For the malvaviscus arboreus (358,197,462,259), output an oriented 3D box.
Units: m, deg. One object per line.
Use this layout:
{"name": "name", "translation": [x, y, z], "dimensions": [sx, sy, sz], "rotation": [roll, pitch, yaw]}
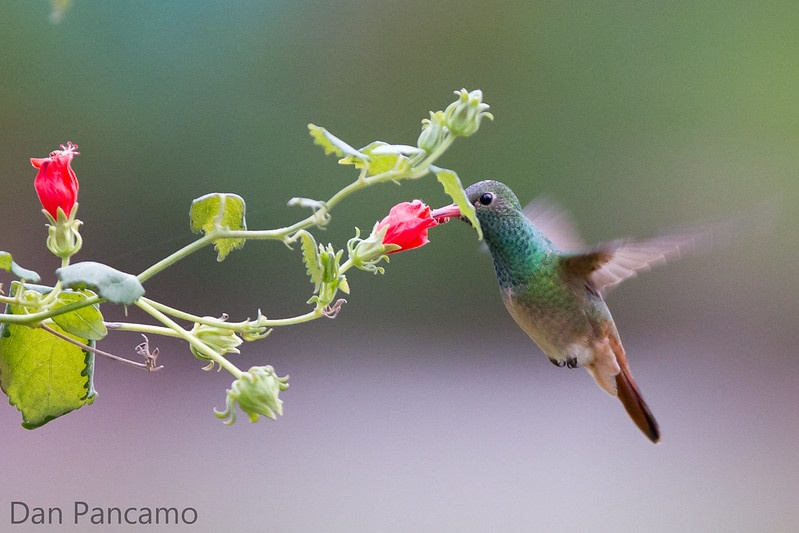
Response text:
{"name": "malvaviscus arboreus", "translation": [0.019, -0.072, 1.511], "dimensions": [0.180, 0.094, 0.080], "rotation": [-21, -12, 6]}
